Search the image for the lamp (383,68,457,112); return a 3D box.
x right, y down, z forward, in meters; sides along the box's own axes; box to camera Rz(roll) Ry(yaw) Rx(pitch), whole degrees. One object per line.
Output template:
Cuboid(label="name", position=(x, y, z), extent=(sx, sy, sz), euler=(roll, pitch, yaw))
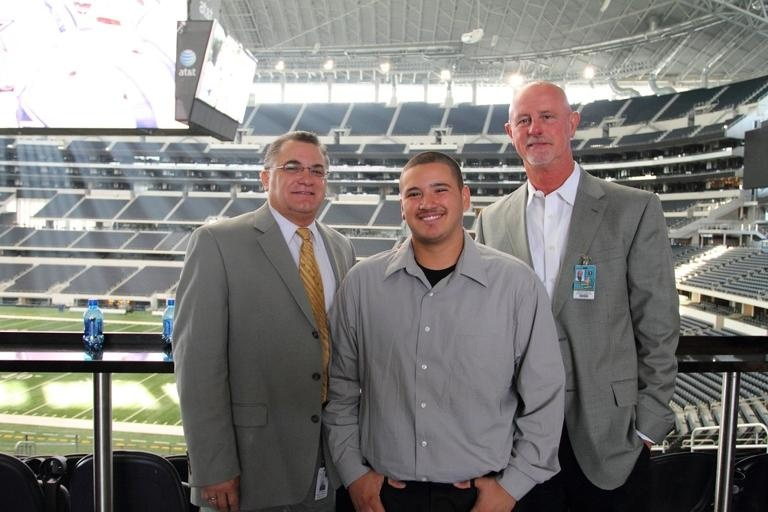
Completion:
Cuboid(label="lamp", position=(1.241, -6.578, 28.133), extent=(2.544, 1.155, 3.678), euler=(-4, 1, 21))

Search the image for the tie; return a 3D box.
Cuboid(label="tie", position=(-0.425, 0.277, 3.990), extent=(0.114, 1.126, 0.142), euler=(18, -27, -32))
